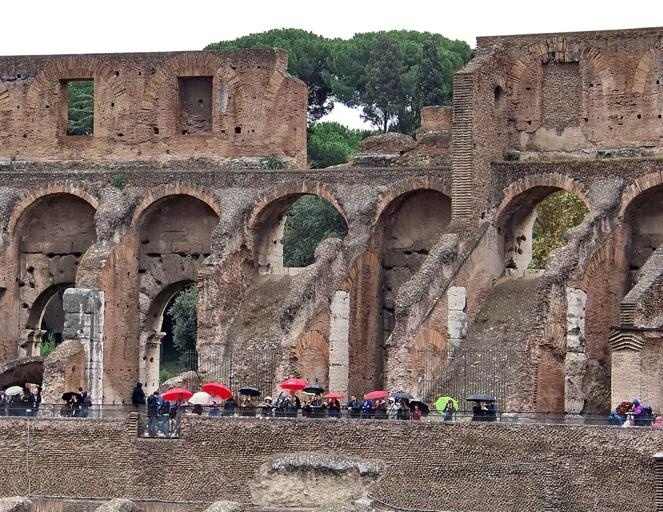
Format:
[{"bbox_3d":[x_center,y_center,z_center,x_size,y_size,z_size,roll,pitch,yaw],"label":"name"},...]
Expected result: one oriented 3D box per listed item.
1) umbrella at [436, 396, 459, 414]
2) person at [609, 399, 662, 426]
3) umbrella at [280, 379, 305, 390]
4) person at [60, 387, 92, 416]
[{"bbox_3d":[2.508,3.333,50.859,0.394,0.127,0.390,-21,9,-27],"label":"umbrella"},{"bbox_3d":[6.575,3.406,49.195,1.101,0.717,2.175,-1,-10,7],"label":"person"},{"bbox_3d":[-0.932,2.893,51.734,0.586,0.263,0.681,0,-10,2],"label":"umbrella"},{"bbox_3d":[-5.948,3.509,52.017,0.594,0.565,1.037,-7,9,0],"label":"person"}]
